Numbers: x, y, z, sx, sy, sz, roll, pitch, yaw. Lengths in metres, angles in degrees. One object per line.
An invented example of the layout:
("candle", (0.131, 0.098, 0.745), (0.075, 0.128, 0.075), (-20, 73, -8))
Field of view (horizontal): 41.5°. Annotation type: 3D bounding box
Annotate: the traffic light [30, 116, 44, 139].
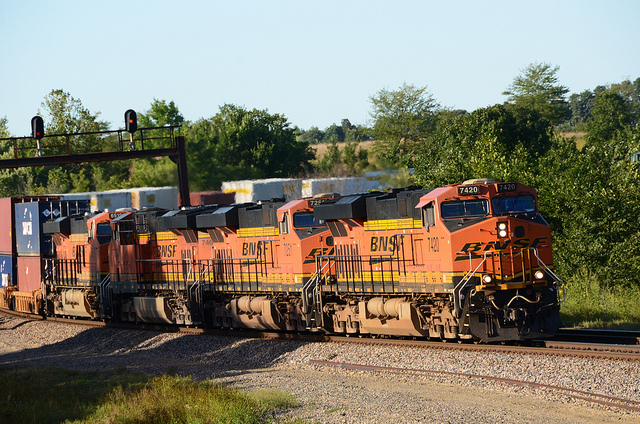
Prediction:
("traffic light", (-13.426, -4.033, 39.827), (0.507, 1.014, 0.747), (-6, 6, -23))
